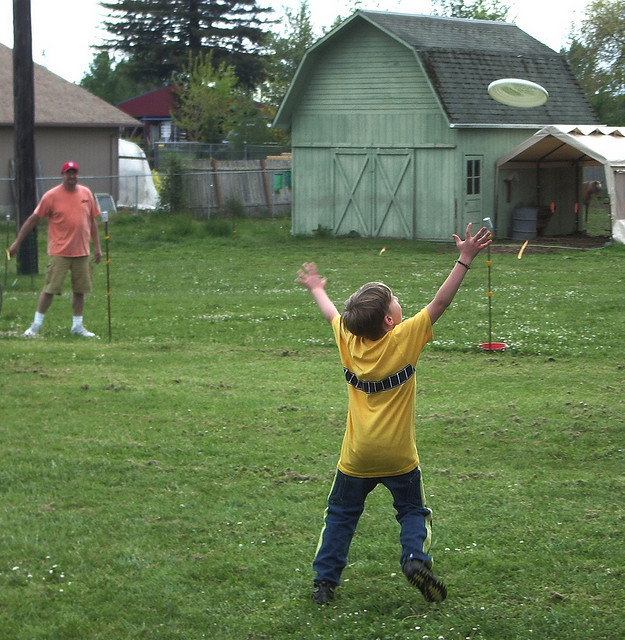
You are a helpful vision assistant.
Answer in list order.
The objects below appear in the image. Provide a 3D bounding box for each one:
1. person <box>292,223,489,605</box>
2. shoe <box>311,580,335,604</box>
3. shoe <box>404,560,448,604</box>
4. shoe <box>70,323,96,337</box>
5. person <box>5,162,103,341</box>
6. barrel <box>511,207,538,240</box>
[{"bbox_3d":[0.501,0.686,8.595,1.156,2.418,0.835,3,13,14],"label":"person"},{"bbox_3d":[0.061,1.826,8.663,0.117,0.110,0.199,2,5,2],"label":"shoe"},{"bbox_3d":[0.726,1.738,8.527,0.137,0.377,0.183,-50,9,-4],"label":"shoe"},{"bbox_3d":[-2.874,0.132,16.014,0.311,0.161,0.314,-2,11,-10],"label":"shoe"},{"bbox_3d":[-3.133,-0.828,15.842,1.009,2.116,0.595,-3,13,-11],"label":"person"},{"bbox_3d":[5.047,-2.237,30.714,0.414,0.739,0.990,-2,11,-7],"label":"barrel"}]
